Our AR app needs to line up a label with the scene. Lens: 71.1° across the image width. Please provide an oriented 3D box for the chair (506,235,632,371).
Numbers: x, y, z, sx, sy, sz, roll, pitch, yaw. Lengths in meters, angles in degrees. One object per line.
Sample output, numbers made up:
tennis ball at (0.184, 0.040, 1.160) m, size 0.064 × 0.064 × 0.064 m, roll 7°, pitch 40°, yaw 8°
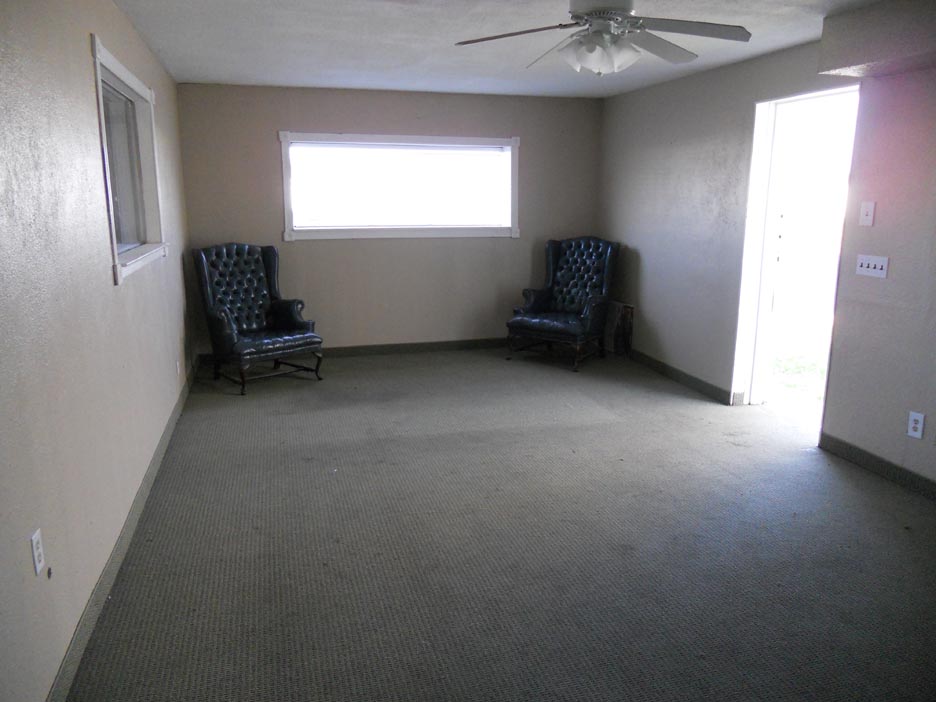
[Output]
chair at (1.059, -0.571, 7.027) m, size 1.130 × 1.340 × 1.188 m, roll 1°, pitch 10°, yaw -1°

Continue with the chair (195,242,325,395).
chair at (-2.022, -0.389, 6.290) m, size 0.922 × 1.365 × 1.077 m, roll -9°, pitch 13°, yaw -37°
